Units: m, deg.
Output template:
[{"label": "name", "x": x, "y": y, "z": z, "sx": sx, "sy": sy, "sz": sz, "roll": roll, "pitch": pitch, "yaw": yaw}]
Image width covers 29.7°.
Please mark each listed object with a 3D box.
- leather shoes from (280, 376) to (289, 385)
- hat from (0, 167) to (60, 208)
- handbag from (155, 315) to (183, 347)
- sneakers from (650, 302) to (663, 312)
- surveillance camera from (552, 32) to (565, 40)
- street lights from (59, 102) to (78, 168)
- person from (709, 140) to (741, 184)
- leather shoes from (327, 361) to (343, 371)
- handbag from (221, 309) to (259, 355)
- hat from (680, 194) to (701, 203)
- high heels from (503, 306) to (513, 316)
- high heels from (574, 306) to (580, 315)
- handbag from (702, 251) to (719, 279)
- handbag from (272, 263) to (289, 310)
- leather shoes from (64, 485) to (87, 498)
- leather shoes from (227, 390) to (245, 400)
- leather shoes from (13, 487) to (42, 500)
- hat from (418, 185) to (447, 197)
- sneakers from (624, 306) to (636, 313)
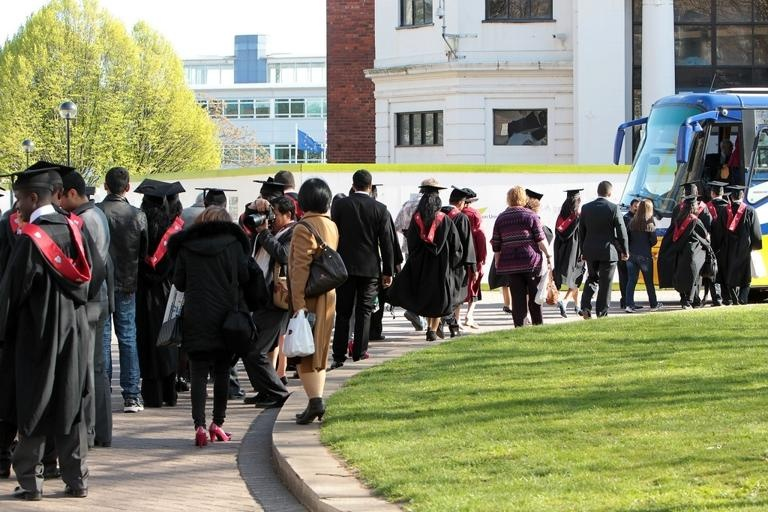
[{"label": "leather shoes", "x": -1.694, "y": 2.121, "z": 24.694, "sx": 0.139, "sy": 0.125, "sz": 0.150, "roll": 0, "pitch": -10, "yaw": -3}, {"label": "hat", "x": -4.953, "y": -1.036, "z": 20.675, "sx": 0.533, "sy": 0.346, "sz": 0.741, "roll": -2, "pitch": 1, "yaw": -26}, {"label": "handbag", "x": -3.291, "y": 1.173, "z": 22.313, "sx": 0.209, "sy": 0.481, "sz": 0.536, "roll": 18, "pitch": -18, "yaw": -37}, {"label": "sneakers", "x": 5.933, "y": 1.135, "z": 31.624, "sx": 0.175, "sy": 0.197, "sz": 0.511, "roll": -1, "pitch": -3, "yaw": 17}, {"label": "surveillance camera", "x": 5.217, "y": -6.567, "z": 43.495, "sx": 0.404, "sy": 0.230, "sz": 0.150, "roll": -2, "pitch": -1, "yaw": 9}, {"label": "street lights", "x": -10.103, "y": -3.714, "z": 46.426, "sx": 0.516, "sy": 2.421, "sz": 0.505, "roll": -4, "pitch": 11, "yaw": -28}, {"label": "person", "x": 7.709, "y": -1.947, "z": 32.618, "sx": 0.587, "sy": 1.503, "sz": 0.448, "roll": -7, "pitch": 40, "yaw": 10}, {"label": "leather shoes", "x": -0.837, "y": 1.918, "z": 25.332, "sx": 0.322, "sy": 0.135, "sz": 0.106, "roll": -5, "pitch": -5, "yaw": -36}, {"label": "handbag", "x": -2.224, "y": 1.052, "z": 22.181, "sx": 0.399, "sy": 0.752, "sz": 0.545, "roll": -7, "pitch": 25, "yaw": -13}, {"label": "hat", "x": 6.385, "y": -1.204, "z": 30.460, "sx": 0.277, "sy": 0.156, "sz": 0.441, "roll": -2, "pitch": -1, "yaw": 11}, {"label": "high heels", "x": 2.591, "y": 1.140, "z": 30.330, "sx": 0.113, "sy": 0.122, "sz": 0.324, "roll": -6, "pitch": -24, "yaw": -1}, {"label": "high heels", "x": 4.051, "y": 1.159, "z": 30.557, "sx": 0.089, "sy": 0.185, "sz": 0.062, "roll": -5, "pitch": -24, "yaw": -14}, {"label": "handbag", "x": 6.804, "y": 0.189, "z": 30.424, "sx": 0.334, "sy": 0.568, "sz": 0.579, "roll": 1, "pitch": 4, "yaw": -3}, {"label": "handbag", "x": -1.672, "y": 0.480, "z": 23.450, "sx": 0.370, "sy": 0.808, "sz": 0.693, "roll": -1, "pitch": 7, "yaw": -9}, {"label": "leather shoes", "x": -4.398, "y": 3.369, "z": 20.728, "sx": 0.328, "sy": 0.108, "sz": 0.153, "roll": -2, "pitch": -1, "yaw": -8}, {"label": "leather shoes", "x": -2.477, "y": 2.363, "z": 24.660, "sx": 0.356, "sy": 0.142, "sz": 0.113, "roll": -10, "pitch": 8, "yaw": -38}, {"label": "leather shoes", "x": -5.060, "y": 3.362, "z": 20.638, "sx": 0.406, "sy": 0.168, "sz": 0.165, "roll": 7, "pitch": 3, "yaw": 26}, {"label": "hat", "x": 0.918, "y": -1.264, "z": 28.177, "sx": 0.554, "sy": 0.188, "sz": 0.599, "roll": 3, "pitch": -6, "yaw": -24}, {"label": "sneakers", "x": 5.249, "y": 1.157, "z": 31.063, "sx": 0.097, "sy": 0.114, "sz": 0.261, "roll": 3, "pitch": -8, "yaw": -22}]
